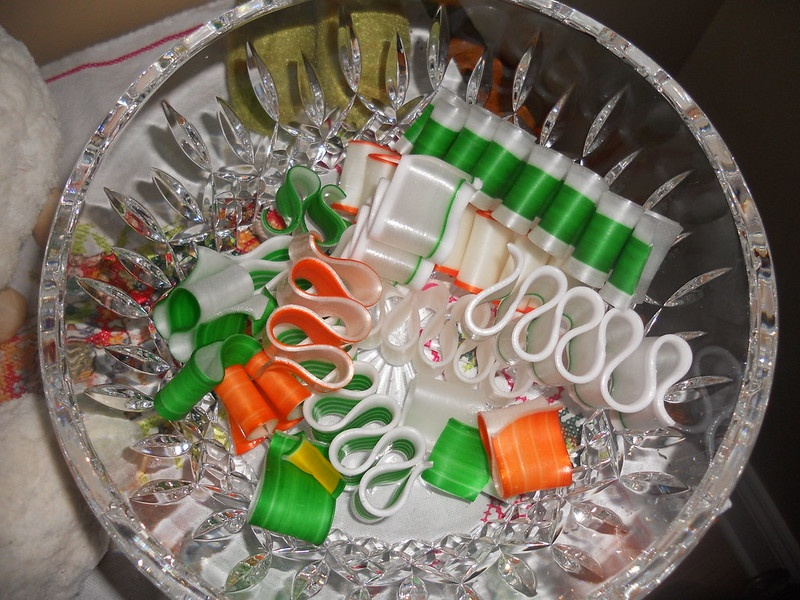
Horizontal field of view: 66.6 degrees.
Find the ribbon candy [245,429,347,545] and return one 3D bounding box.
[{"bbox_3d":[-0.172,0.346,1.041,0.116,0.136,0.166,23,-59,-8],"label":"ribbon candy"}]

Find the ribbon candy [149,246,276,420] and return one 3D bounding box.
[{"bbox_3d":[-0.317,0.041,1.004,0.190,0.277,0.090,22,-13,-18],"label":"ribbon candy"}]

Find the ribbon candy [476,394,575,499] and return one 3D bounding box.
[{"bbox_3d":[0.222,0.255,1.042,0.137,0.167,0.071,-7,-52,16],"label":"ribbon candy"}]
